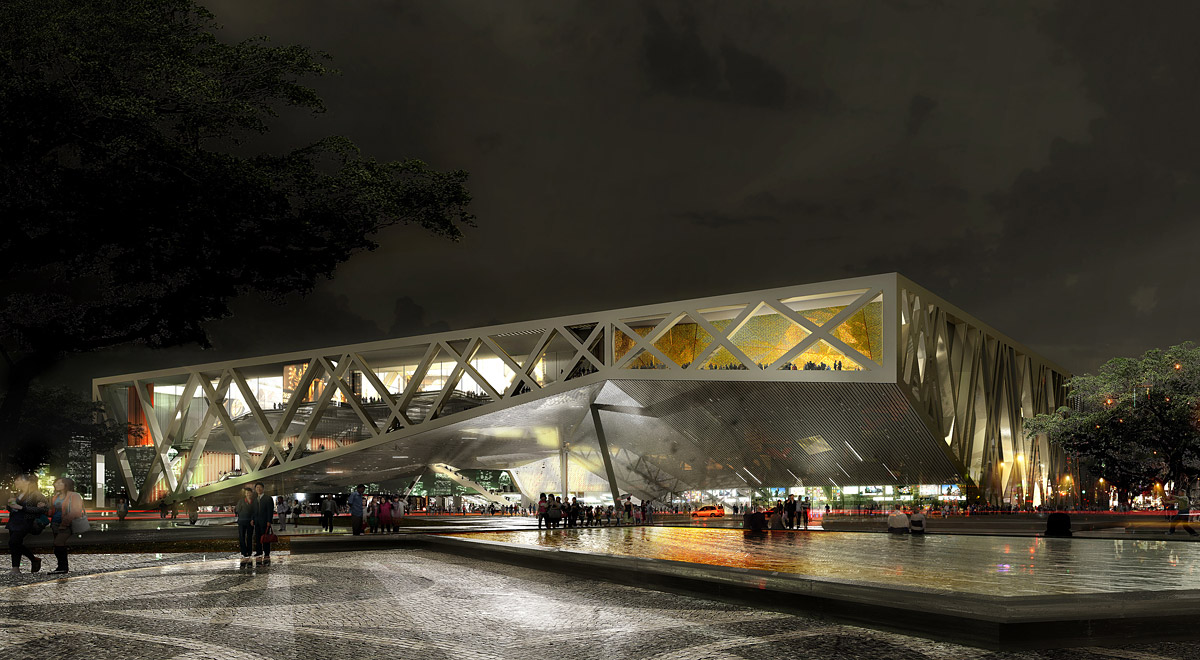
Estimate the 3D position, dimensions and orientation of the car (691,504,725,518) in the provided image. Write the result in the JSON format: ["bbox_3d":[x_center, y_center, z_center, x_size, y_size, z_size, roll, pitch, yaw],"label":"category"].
[{"bbox_3d":[8.386,14.250,64.118,2.593,0.733,1.317,2,-8,2],"label":"car"}]
